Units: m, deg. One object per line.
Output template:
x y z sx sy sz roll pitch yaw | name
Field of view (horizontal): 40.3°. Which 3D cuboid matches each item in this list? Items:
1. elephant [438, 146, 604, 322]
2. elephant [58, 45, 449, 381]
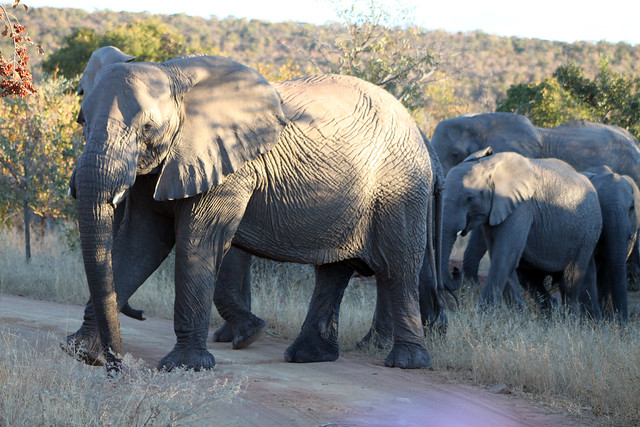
3.132 0.456 14.105 3.054 2.635 1.627 5 -8 -20 | elephant
-0.865 0.065 11.270 4.937 3.845 2.727 2 -2 -22 | elephant
